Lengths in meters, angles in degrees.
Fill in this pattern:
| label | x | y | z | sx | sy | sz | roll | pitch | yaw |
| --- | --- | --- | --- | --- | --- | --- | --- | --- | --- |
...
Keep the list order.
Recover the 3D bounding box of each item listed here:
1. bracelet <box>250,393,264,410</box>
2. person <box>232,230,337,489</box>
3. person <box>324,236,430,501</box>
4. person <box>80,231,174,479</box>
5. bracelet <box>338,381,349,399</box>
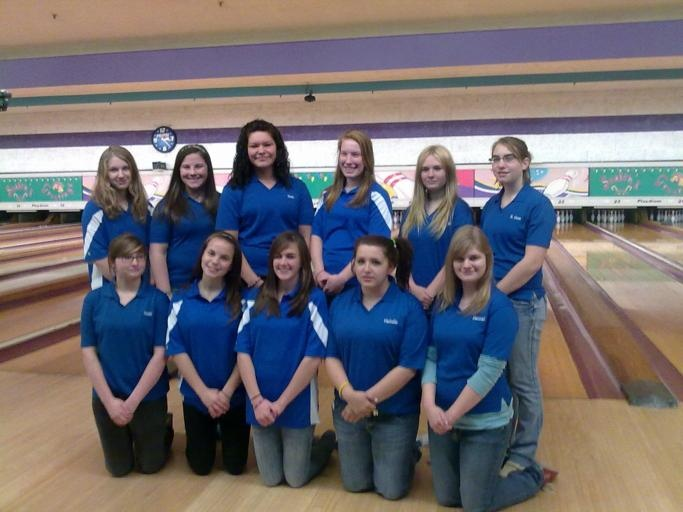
| label | x | y | z | sx | sy | sz | roll | pitch | yaw |
| --- | --- | --- | --- | --- | --- | --- | --- | --- | --- |
| bracelet | -0.364 | 0.623 | 2.421 | 0.042 | 0.057 | 0.031 | -8 | -15 | 2 |
| person | -0.251 | 0.447 | 2.487 | 0.423 | 1.090 | 0.299 | -2 | 10 | -2 |
| person | 0.157 | 0.459 | 2.448 | 0.450 | 1.092 | 0.376 | -2 | 10 | -1 |
| person | -0.971 | 0.439 | 2.545 | 0.381 | 1.059 | 0.289 | -3 | 10 | -6 |
| bracelet | 0.008 | 0.571 | 2.386 | 0.020 | 0.056 | 0.047 | 11 | 13 | 13 |
